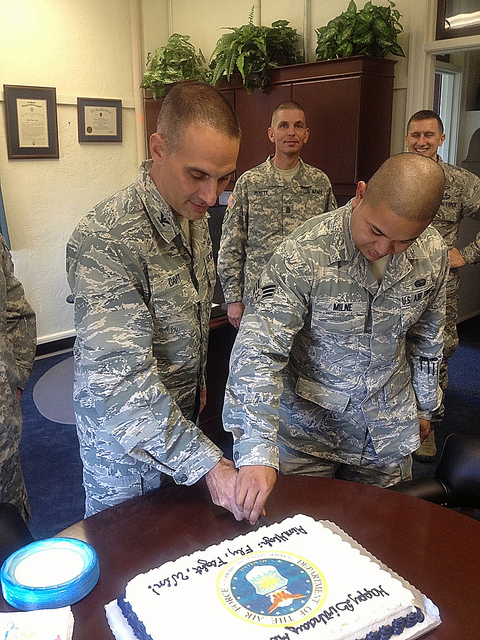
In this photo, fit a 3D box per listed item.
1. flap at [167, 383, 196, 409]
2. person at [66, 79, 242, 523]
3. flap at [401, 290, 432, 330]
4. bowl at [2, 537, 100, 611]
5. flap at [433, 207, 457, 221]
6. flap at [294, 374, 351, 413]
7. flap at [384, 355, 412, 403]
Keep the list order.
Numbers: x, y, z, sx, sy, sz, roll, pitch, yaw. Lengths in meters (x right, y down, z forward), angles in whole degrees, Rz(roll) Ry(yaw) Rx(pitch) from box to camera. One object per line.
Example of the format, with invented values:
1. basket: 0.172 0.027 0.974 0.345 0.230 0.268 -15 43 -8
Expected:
1. flap: -0.153 0.193 1.307 0.079 0.075 0.009 -29 52 -33
2. person: -0.201 -0.009 1.184 0.375 1.109 0.501 0 3 -18
3. flap: 0.493 -0.032 1.436 0.099 0.076 0.013 -40 46 -21
4. bowl: -0.304 0.413 0.825 0.149 0.080 0.113 0 3 -15
5. flap: 1.218 -0.618 3.016 0.115 0.100 0.030 10 -3 0
6. flap: 0.234 0.213 1.441 0.144 0.075 0.037 19 12 14
7. flap: 0.483 0.148 1.550 0.074 0.053 0.098 7 8 25
